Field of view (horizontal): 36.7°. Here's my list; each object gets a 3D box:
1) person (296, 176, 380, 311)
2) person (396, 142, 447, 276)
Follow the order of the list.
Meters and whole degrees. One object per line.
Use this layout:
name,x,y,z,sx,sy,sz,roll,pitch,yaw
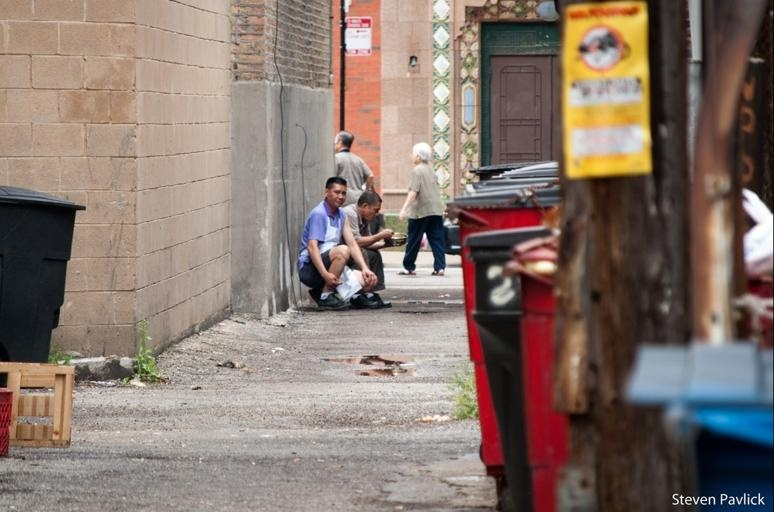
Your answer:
person,-0.580,-0.131,13.163,0.905,1.498,0.790,0,1,14
person,0.484,-0.663,15.996,0.629,1.874,1.246,-1,1,1
